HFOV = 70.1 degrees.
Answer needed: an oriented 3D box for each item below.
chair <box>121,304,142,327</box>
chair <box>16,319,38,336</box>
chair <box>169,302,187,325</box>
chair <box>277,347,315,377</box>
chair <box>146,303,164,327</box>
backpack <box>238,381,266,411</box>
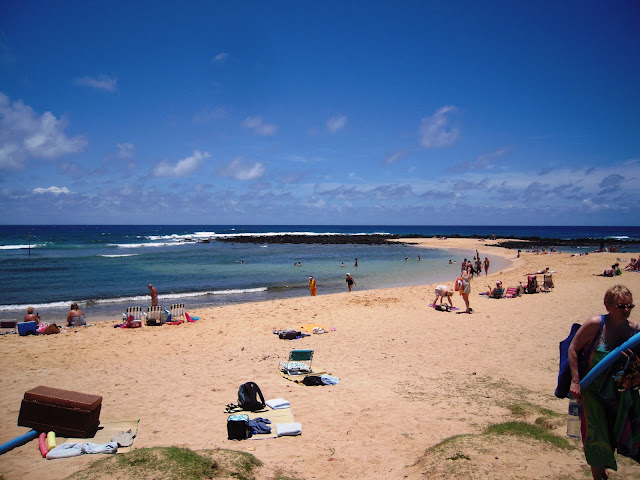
[{"bbox_3d":[-7.361,3.057,17.835,0.735,0.822,0.871,4,-10,-29],"label":"chair"},{"bbox_3d":[-10.409,3.147,16.226,0.619,0.445,0.500,-2,4,-31],"label":"chair"},{"bbox_3d":[-5.750,2.977,18.363,0.758,0.900,0.724,1,-8,-16],"label":"chair"},{"bbox_3d":[-0.631,3.441,12.606,0.592,0.450,0.785,9,-26,-21],"label":"chair"},{"bbox_3d":[-6.607,2.988,18.214,0.635,0.670,0.766,0,4,-15],"label":"chair"},{"bbox_3d":[-1.535,3.543,10.382,0.625,0.571,0.481,-2,4,-24],"label":"backpack"}]
